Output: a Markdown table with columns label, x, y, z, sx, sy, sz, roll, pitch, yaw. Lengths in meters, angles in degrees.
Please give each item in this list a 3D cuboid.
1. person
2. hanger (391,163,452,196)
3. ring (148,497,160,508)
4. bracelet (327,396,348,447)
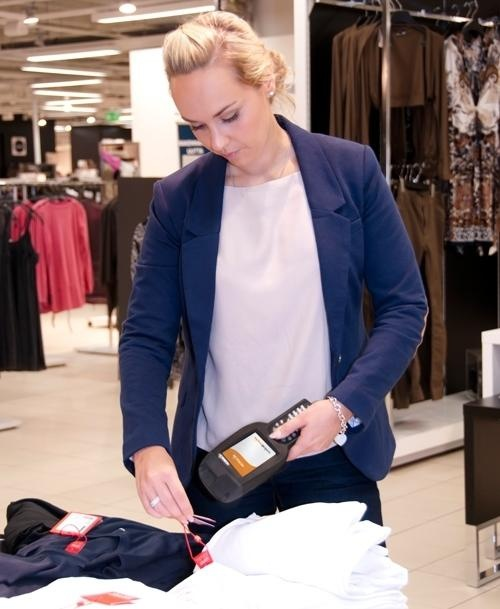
| label | x | y | z | sx | sy | sz | roll | pitch | yaw |
| --- | --- | --- | --- | --- | --- | --- | --- | --- | --- |
| person | 0.031 | -0.026 | 0.891 | 0.490 | 0.817 | 0.322 | -4 | 4 | -30 |
| hanger | 1.116 | -0.844 | 3.766 | 0.265 | 0.091 | 0.286 | 4 | -12 | -9 |
| ring | -0.117 | 0.245 | 0.697 | 0.012 | 0.013 | 0.008 | -3 | 4 | -15 |
| bracelet | 0.123 | 0.168 | 0.821 | 0.016 | 0.053 | 0.074 | -1 | -38 | -8 |
